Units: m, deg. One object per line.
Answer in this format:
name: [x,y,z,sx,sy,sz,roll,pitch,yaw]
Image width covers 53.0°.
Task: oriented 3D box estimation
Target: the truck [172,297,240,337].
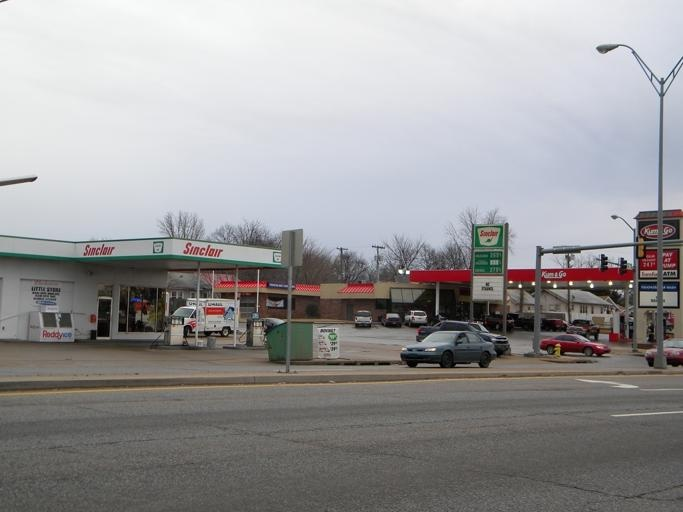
truck: [-9.227,3.874,44.873,5.104,2.623,2.908,6,-8,-43]
